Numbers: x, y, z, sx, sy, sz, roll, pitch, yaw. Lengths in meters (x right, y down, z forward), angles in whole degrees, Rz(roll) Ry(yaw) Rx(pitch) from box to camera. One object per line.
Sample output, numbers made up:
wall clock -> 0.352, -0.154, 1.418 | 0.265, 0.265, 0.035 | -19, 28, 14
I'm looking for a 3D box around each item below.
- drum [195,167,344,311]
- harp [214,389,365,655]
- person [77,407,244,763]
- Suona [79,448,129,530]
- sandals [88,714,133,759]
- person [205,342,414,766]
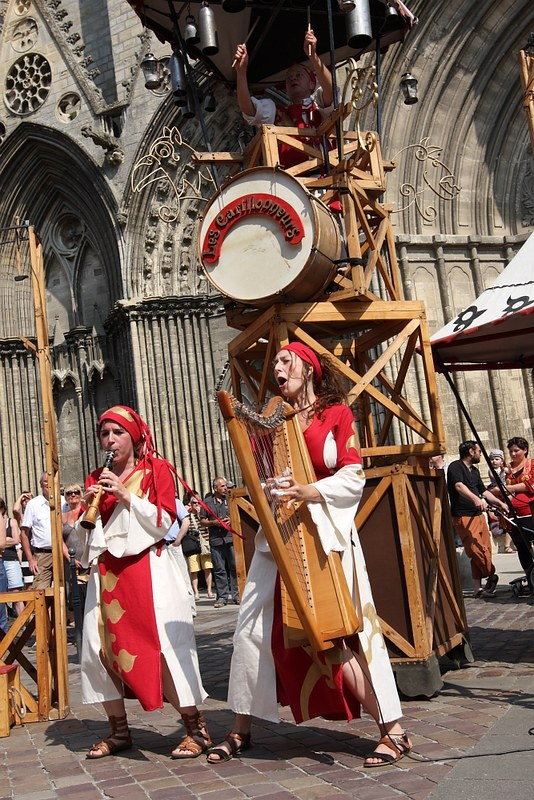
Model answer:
drum -> 0.051, -1.046, 5.069 | 0.912, 0.878, 0.453 | -15, -8, 36
harp -> 0.117, 0.482, 2.973 | 0.345, 1.033, 0.720 | -11, -7, 3
person -> -0.615, 0.898, 3.874 | 0.646, 1.741, 0.722 | -1, -5, -40
Suona -> -0.752, 0.427, 3.559 | 0.104, 0.087, 0.461 | -4, 34, 12
sandals -> -0.807, 1.644, 3.785 | 0.122, 0.189, 0.275 | -18, -24, 29
person -> 0.121, 0.631, 3.362 | 0.835, 1.708, 0.617 | -9, -15, 26
